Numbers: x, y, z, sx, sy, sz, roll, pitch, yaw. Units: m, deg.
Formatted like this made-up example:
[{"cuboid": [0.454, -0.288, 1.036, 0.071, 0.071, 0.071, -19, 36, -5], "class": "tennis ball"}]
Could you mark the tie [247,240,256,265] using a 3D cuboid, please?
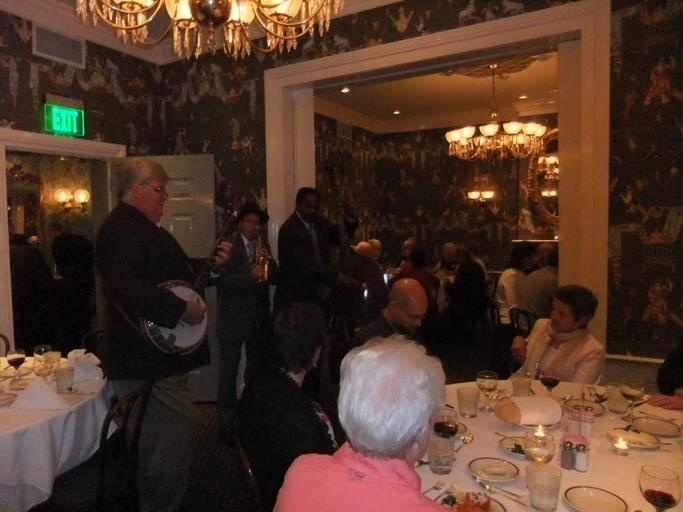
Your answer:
[{"cuboid": [-0.695, -0.042, 4.492, 0.093, 0.140, 0.043, 5, -14, -25], "class": "tie"}]

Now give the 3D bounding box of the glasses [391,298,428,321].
[{"cuboid": [0.388, 0.301, 3.338, 0.126, 0.143, 0.140, -2, 9, -40], "class": "glasses"}]

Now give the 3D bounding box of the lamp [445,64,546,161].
[{"cuboid": [1.764, -1.665, 6.656, 0.943, 1.120, 0.993, -1, 1, 13], "class": "lamp"}]

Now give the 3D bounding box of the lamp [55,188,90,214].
[{"cuboid": [-3.175, -0.567, 6.869, 0.217, 0.288, 0.406, -4, -2, 40], "class": "lamp"}]

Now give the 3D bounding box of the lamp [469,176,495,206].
[{"cuboid": [1.659, -0.776, 6.842, 0.307, 0.301, 0.318, 1, -8, 3], "class": "lamp"}]
